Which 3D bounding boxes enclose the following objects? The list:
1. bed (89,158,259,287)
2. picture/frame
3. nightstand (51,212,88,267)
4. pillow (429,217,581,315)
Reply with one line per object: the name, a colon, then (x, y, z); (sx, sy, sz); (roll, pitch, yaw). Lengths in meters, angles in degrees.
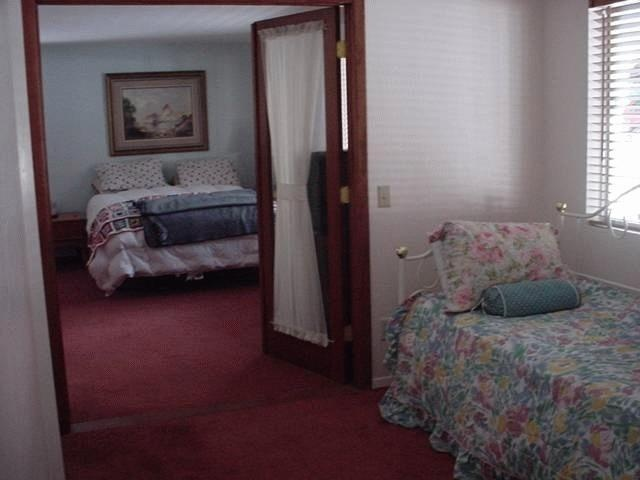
bed: (-1.717, -0.297, 5.766); (1.936, 1.301, 2.326); (-9, 13, -16)
picture/frame: (-2.266, -1.739, 6.588); (1.173, 0.990, 0.112); (-3, 5, -21)
nightstand: (-2.890, -0.019, 5.657); (0.426, 0.565, 0.606); (-1, 8, -11)
pillow: (0.969, 0.097, 2.671); (0.621, 0.472, 0.186); (-6, -1, -10)
